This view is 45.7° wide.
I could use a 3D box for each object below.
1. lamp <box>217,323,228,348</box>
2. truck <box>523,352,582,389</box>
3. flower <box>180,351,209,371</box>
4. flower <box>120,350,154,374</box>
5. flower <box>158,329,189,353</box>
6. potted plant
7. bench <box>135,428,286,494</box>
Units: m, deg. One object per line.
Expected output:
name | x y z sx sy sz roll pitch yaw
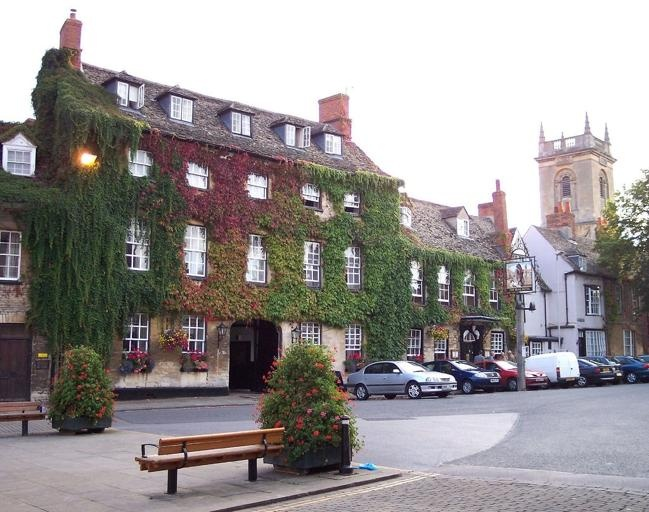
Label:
lamp | -4.380 3.472 33.418 0.433 1.048 0.398 -1 3 -29
truck | 12.026 5.979 40.617 1.600 1.504 2.707 5 -5 -40
flower | -5.497 4.454 32.493 0.818 0.568 0.858 14 4 44
flower | -7.567 4.298 30.888 0.841 0.813 1.066 -10 -14 38
flower | -6.175 3.514 31.899 1.324 1.026 0.432 -2 4 -44
potted plant | -0.441 3.511 17.168 2.685 2.982 2.065 -1 3 -3
bench | -2.203 4.038 15.339 3.104 1.231 0.558 -1 3 -36
